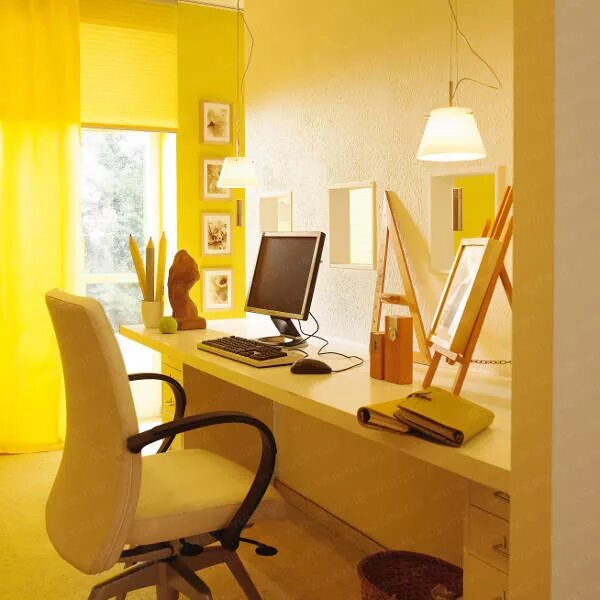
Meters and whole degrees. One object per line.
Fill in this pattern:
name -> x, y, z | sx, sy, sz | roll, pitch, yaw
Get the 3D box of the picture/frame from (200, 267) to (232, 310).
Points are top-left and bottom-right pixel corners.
picture/frame -> -0.556, -0.074, 4.105 | 0.211, 0.336, 0.022 | -2, 31, -13

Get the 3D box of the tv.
tv -> -0.049, -0.038, 2.585 | 0.082, 0.588, 0.607 | -1, 2, -26

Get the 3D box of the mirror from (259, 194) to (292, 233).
mirror -> -0.104, -0.454, 3.172 | 0.115, 0.222, 0.395 | -5, 13, -19

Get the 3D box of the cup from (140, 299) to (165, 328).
cup -> -0.710, 0.062, 2.905 | 0.117, 0.155, 0.125 | 1, 1, 0

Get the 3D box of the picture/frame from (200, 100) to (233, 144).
picture/frame -> -0.564, -1.191, 4.013 | 0.266, 0.362, 0.035 | 1, -2, -28

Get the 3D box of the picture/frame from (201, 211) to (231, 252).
picture/frame -> -0.558, -0.448, 4.077 | 0.213, 0.323, 0.020 | -2, 30, -12

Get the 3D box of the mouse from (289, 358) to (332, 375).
mouse -> 0.039, 0.204, 1.910 | 0.093, 0.037, 0.056 | -1, 4, -1
